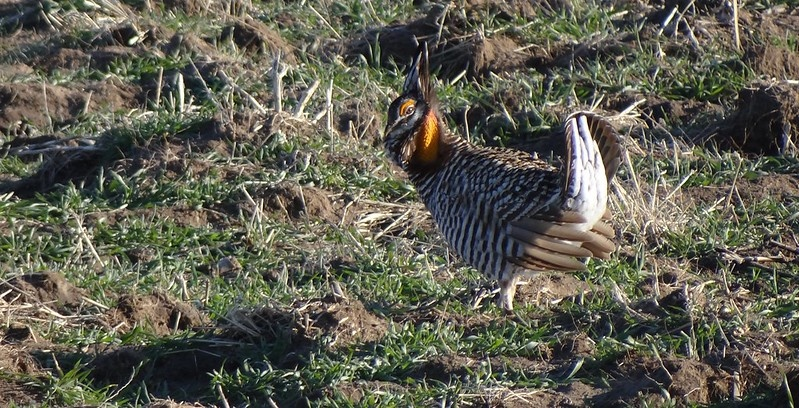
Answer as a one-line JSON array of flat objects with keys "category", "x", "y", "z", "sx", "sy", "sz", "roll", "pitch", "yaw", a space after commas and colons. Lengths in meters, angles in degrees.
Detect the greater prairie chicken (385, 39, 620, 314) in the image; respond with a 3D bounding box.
[{"category": "greater prairie chicken", "x": 0.946, "y": -0.231, "z": 9.778, "sx": 1.097, "sy": 2.131, "sz": 2.683, "roll": -18, "pitch": 19, "yaw": -39}]
